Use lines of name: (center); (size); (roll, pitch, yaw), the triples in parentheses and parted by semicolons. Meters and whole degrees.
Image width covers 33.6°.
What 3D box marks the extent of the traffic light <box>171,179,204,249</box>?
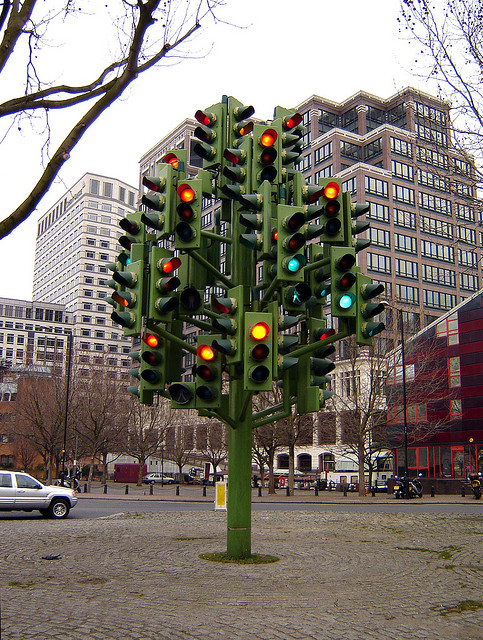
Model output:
traffic light: (-0.691, -1.400, 9.970); (0.407, 1.103, 0.868); (2, -13, -5)

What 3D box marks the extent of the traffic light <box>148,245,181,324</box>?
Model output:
traffic light: (-0.936, -0.504, 9.716); (0.359, 1.087, 0.826); (3, -13, -6)

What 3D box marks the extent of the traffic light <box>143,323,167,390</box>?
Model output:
traffic light: (-1.133, 0.512, 10.423); (0.292, 0.758, 0.528); (3, -14, -6)

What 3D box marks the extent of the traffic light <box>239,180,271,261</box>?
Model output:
traffic light: (0.177, -1.351, 10.442); (0.415, 1.131, 0.675); (1, -14, 1)

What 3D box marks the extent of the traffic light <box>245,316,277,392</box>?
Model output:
traffic light: (0.223, 0.367, 9.360); (0.352, 0.984, 0.622); (1, -14, 2)

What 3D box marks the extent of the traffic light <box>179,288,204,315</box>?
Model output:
traffic light: (-0.646, -0.264, 10.304); (0.297, 0.403, 0.609); (2, -13, -4)

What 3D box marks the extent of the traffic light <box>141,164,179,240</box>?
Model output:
traffic light: (-1.036, -1.621, 10.240); (0.463, 1.259, 1.121); (3, -13, -6)

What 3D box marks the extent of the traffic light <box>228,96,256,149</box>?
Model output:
traffic light: (0.006, -2.745, 11.494); (0.333, 0.835, 0.320); (-3, -9, 30)

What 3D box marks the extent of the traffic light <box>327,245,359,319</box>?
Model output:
traffic light: (1.351, -0.557, 10.638); (0.405, 1.259, 1.030); (0, -13, 6)

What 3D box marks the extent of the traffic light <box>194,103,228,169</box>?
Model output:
traffic light: (-0.451, -2.736, 11.445); (0.433, 1.059, 0.749); (-2, -14, 14)

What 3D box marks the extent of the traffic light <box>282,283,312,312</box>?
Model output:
traffic light: (0.718, -0.265, 9.845); (0.412, 0.372, 0.316); (5, -5, -38)

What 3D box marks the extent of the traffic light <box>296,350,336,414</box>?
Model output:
traffic light: (1.011, 0.885, 11.440); (0.563, 0.963, 1.030); (-1, -10, -10)

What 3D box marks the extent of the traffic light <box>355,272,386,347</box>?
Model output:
traffic light: (1.668, -0.133, 10.464); (0.497, 0.884, 0.467); (0, -3, -3)

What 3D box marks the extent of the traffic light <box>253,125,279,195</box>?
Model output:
traffic light: (0.329, -2.262, 10.906); (0.346, 1.048, 0.445); (1, -14, 2)

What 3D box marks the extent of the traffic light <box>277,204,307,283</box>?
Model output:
traffic light: (0.604, -0.979, 9.788); (0.348, 1.021, 0.449); (1, -14, 3)

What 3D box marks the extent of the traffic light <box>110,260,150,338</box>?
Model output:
traffic light: (-1.414, -0.331, 10.135); (0.464, 1.125, 0.709); (3, -14, -9)

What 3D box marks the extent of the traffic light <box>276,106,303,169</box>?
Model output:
traffic light: (0.684, -2.645, 11.701); (0.395, 0.953, 0.366); (-6, -11, 25)

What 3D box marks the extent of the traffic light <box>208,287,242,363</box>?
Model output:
traffic light: (-0.211, 0.049, 9.923); (0.393, 1.063, 1.059); (2, -13, -3)
